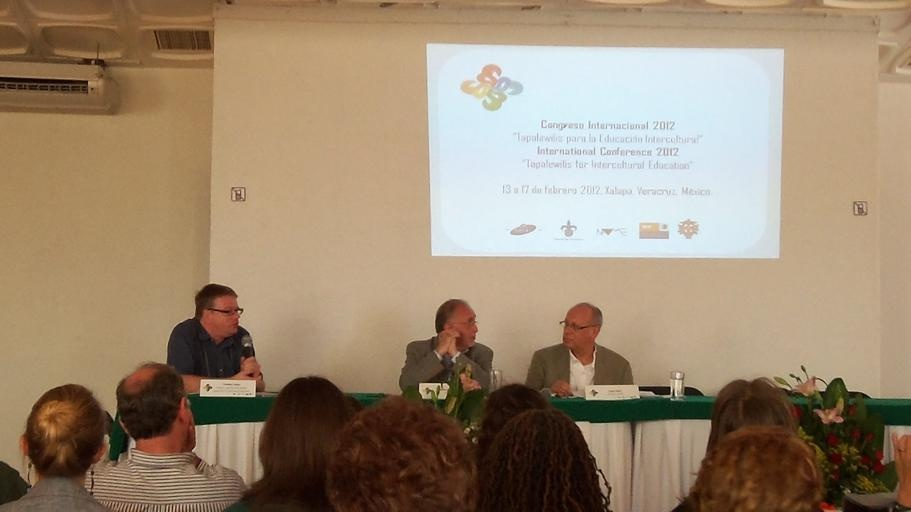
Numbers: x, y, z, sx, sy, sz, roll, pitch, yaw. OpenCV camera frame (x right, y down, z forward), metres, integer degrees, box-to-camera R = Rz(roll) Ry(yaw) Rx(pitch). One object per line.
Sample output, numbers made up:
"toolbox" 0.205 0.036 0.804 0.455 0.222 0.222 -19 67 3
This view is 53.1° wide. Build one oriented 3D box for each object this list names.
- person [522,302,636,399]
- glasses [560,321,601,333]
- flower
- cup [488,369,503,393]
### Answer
"person" 1.096 0.902 8.081 0.913 1.324 0.748 -2 -11 22
"glasses" 1.093 0.590 7.817 0.293 0.075 0.107 2 0 -7
"flower" 2.803 1.313 6.555 0.728 1.007 0.462 2 0 17
"cup" 0.308 0.948 7.019 0.120 0.194 0.120 0 -3 0
